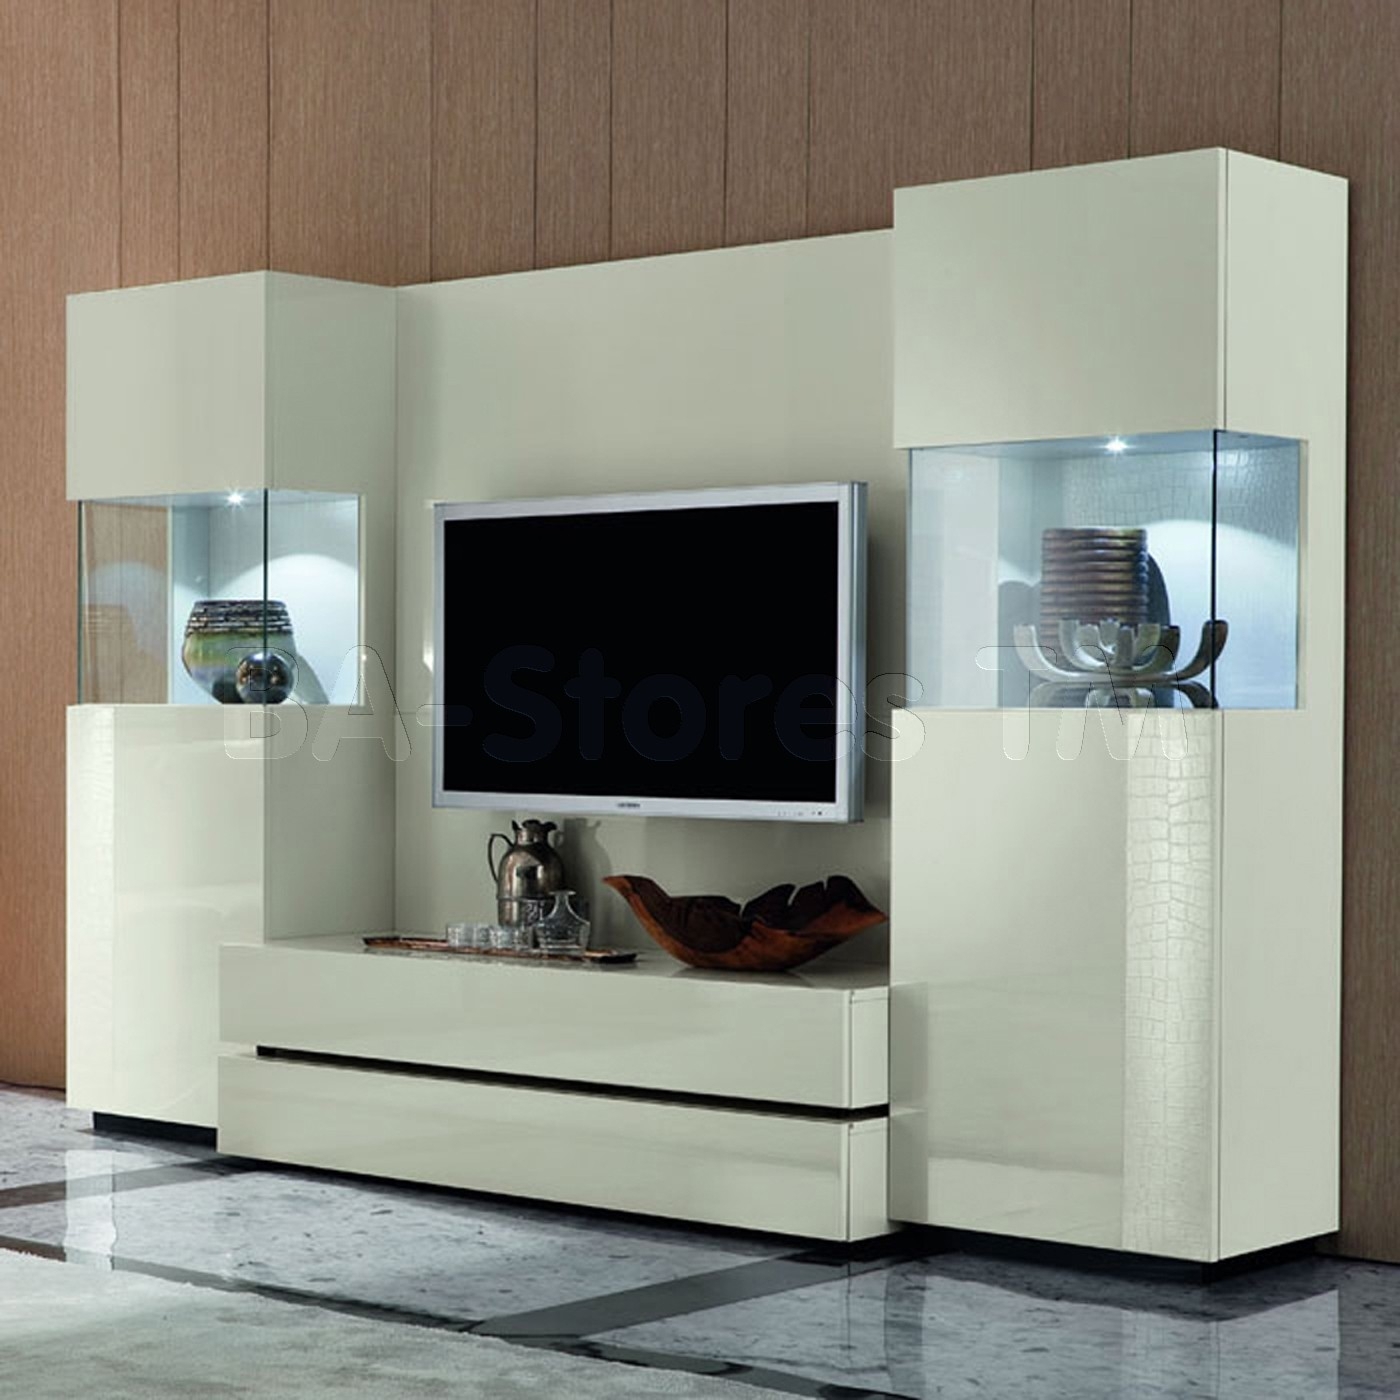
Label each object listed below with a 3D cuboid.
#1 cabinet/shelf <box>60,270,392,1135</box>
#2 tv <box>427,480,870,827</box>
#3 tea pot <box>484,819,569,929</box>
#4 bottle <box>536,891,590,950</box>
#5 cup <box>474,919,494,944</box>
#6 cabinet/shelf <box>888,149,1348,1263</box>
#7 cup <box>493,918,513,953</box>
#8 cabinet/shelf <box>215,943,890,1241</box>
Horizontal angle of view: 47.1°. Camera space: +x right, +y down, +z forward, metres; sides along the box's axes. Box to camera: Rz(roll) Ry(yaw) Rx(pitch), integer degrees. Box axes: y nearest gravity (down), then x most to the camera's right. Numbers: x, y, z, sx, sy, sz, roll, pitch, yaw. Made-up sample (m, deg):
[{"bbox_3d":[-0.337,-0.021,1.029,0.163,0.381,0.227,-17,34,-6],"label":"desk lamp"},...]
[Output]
[{"bbox_3d":[-1.373,-0.017,4.488,0.939,2.161,0.468,-2,0,13],"label":"cabinet/shelf"},{"bbox_3d":[-0.143,-0.099,3.954,1.215,0.782,0.128,1,3,29],"label":"tv"},{"bbox_3d":[-0.456,0.436,4.084,0.268,0.357,0.221,2,-5,-20],"label":"tea pot"},{"bbox_3d":[-0.337,0.537,3.929,0.127,0.123,0.125,2,-3,-44],"label":"bottle"},{"bbox_3d":[-0.541,0.580,3.954,0.048,0.048,0.085,-2,1,-15],"label":"cup"},{"bbox_3d":[0.683,0.294,3.237,0.553,1.551,0.390,-3,11,-1],"label":"cabinet/shelf"},{"bbox_3d":[-0.490,0.588,3.914,0.046,0.064,0.046,0,-1,0],"label":"cup"},{"bbox_3d":[-0.359,0.866,3.841,1.649,0.554,0.512,0,2,26],"label":"cabinet/shelf"}]
